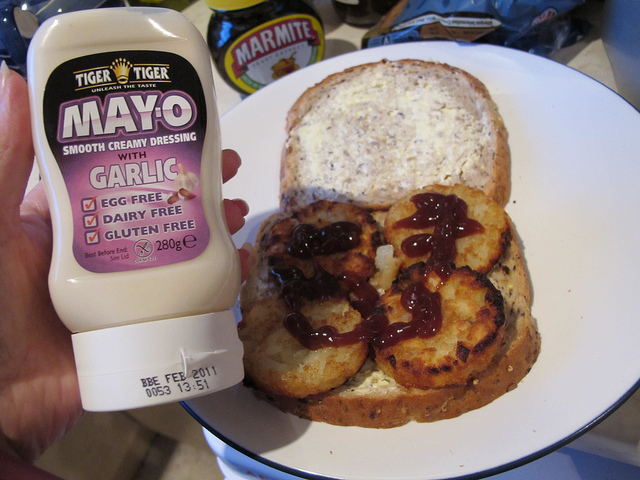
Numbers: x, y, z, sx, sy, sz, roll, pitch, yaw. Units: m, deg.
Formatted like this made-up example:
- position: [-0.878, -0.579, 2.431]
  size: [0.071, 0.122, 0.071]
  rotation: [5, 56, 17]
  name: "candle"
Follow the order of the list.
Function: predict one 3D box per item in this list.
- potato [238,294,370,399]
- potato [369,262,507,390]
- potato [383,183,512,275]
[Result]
- position: [-0.085, 0.318, 1.819]
  size: [0.302, 0.085, 0.323]
  rotation: [-12, 77, 14]
  name: "potato"
- position: [0.349, 0.254, 1.718]
  size: [0.343, 0.107, 0.353]
  rotation: [43, 92, 14]
  name: "potato"
- position: [0.378, -0.037, 1.855]
  size: [0.369, 0.085, 0.279]
  rotation: [4, 66, 3]
  name: "potato"
